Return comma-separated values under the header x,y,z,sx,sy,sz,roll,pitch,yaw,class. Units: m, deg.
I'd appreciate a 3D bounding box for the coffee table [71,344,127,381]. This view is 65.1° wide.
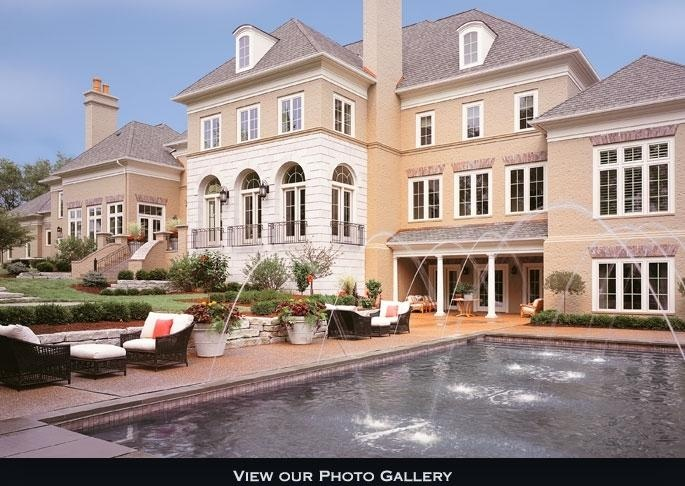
x,y,z,sx,sy,sz,roll,pitch,yaw,class
-5.288,2.495,11.630,0.885,0.503,0.889,-3,-4,37,coffee table

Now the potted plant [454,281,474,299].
x,y,z,sx,sy,sz,roll,pitch,yaw,class
6.220,2.381,27.264,0.973,0.723,0.807,2,-6,-4,potted plant

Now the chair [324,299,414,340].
x,y,z,sx,sy,sz,roll,pitch,yaw,class
0.883,2.632,18.428,1.264,1.095,3.191,-2,-4,42,chair

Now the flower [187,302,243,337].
x,y,z,sx,sy,sz,roll,pitch,yaw,class
-3.312,1.898,13.860,1.063,0.500,0.971,5,-2,-2,flower

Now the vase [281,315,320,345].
x,y,z,sx,sy,sz,roll,pitch,yaw,class
-1.307,2.691,16.628,1.032,0.642,0.936,2,-9,-5,vase

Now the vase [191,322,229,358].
x,y,z,sx,sy,sz,roll,pitch,yaw,class
-3.432,2.491,13.907,0.969,0.622,0.927,6,-9,-42,vase

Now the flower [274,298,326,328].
x,y,z,sx,sy,sz,roll,pitch,yaw,class
-1.393,2.075,16.580,1.114,0.531,1.029,0,5,-32,flower

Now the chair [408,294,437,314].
x,y,z,sx,sy,sz,roll,pitch,yaw,class
4.253,3.226,28.542,1.302,0.877,2.997,0,-3,13,chair

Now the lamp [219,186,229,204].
x,y,z,sx,sy,sz,roll,pitch,yaw,class
-6.272,-2.502,28.010,0.491,0.847,0.307,-1,-4,35,lamp

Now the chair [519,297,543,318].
x,y,z,sx,sy,sz,roll,pitch,yaw,class
8.811,3.026,24.736,0.768,0.914,2.025,0,-3,7,chair

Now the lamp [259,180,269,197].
x,y,z,sx,sy,sz,roll,pitch,yaw,class
-3.912,-2.689,26.684,0.424,0.814,0.366,3,-4,-40,lamp
